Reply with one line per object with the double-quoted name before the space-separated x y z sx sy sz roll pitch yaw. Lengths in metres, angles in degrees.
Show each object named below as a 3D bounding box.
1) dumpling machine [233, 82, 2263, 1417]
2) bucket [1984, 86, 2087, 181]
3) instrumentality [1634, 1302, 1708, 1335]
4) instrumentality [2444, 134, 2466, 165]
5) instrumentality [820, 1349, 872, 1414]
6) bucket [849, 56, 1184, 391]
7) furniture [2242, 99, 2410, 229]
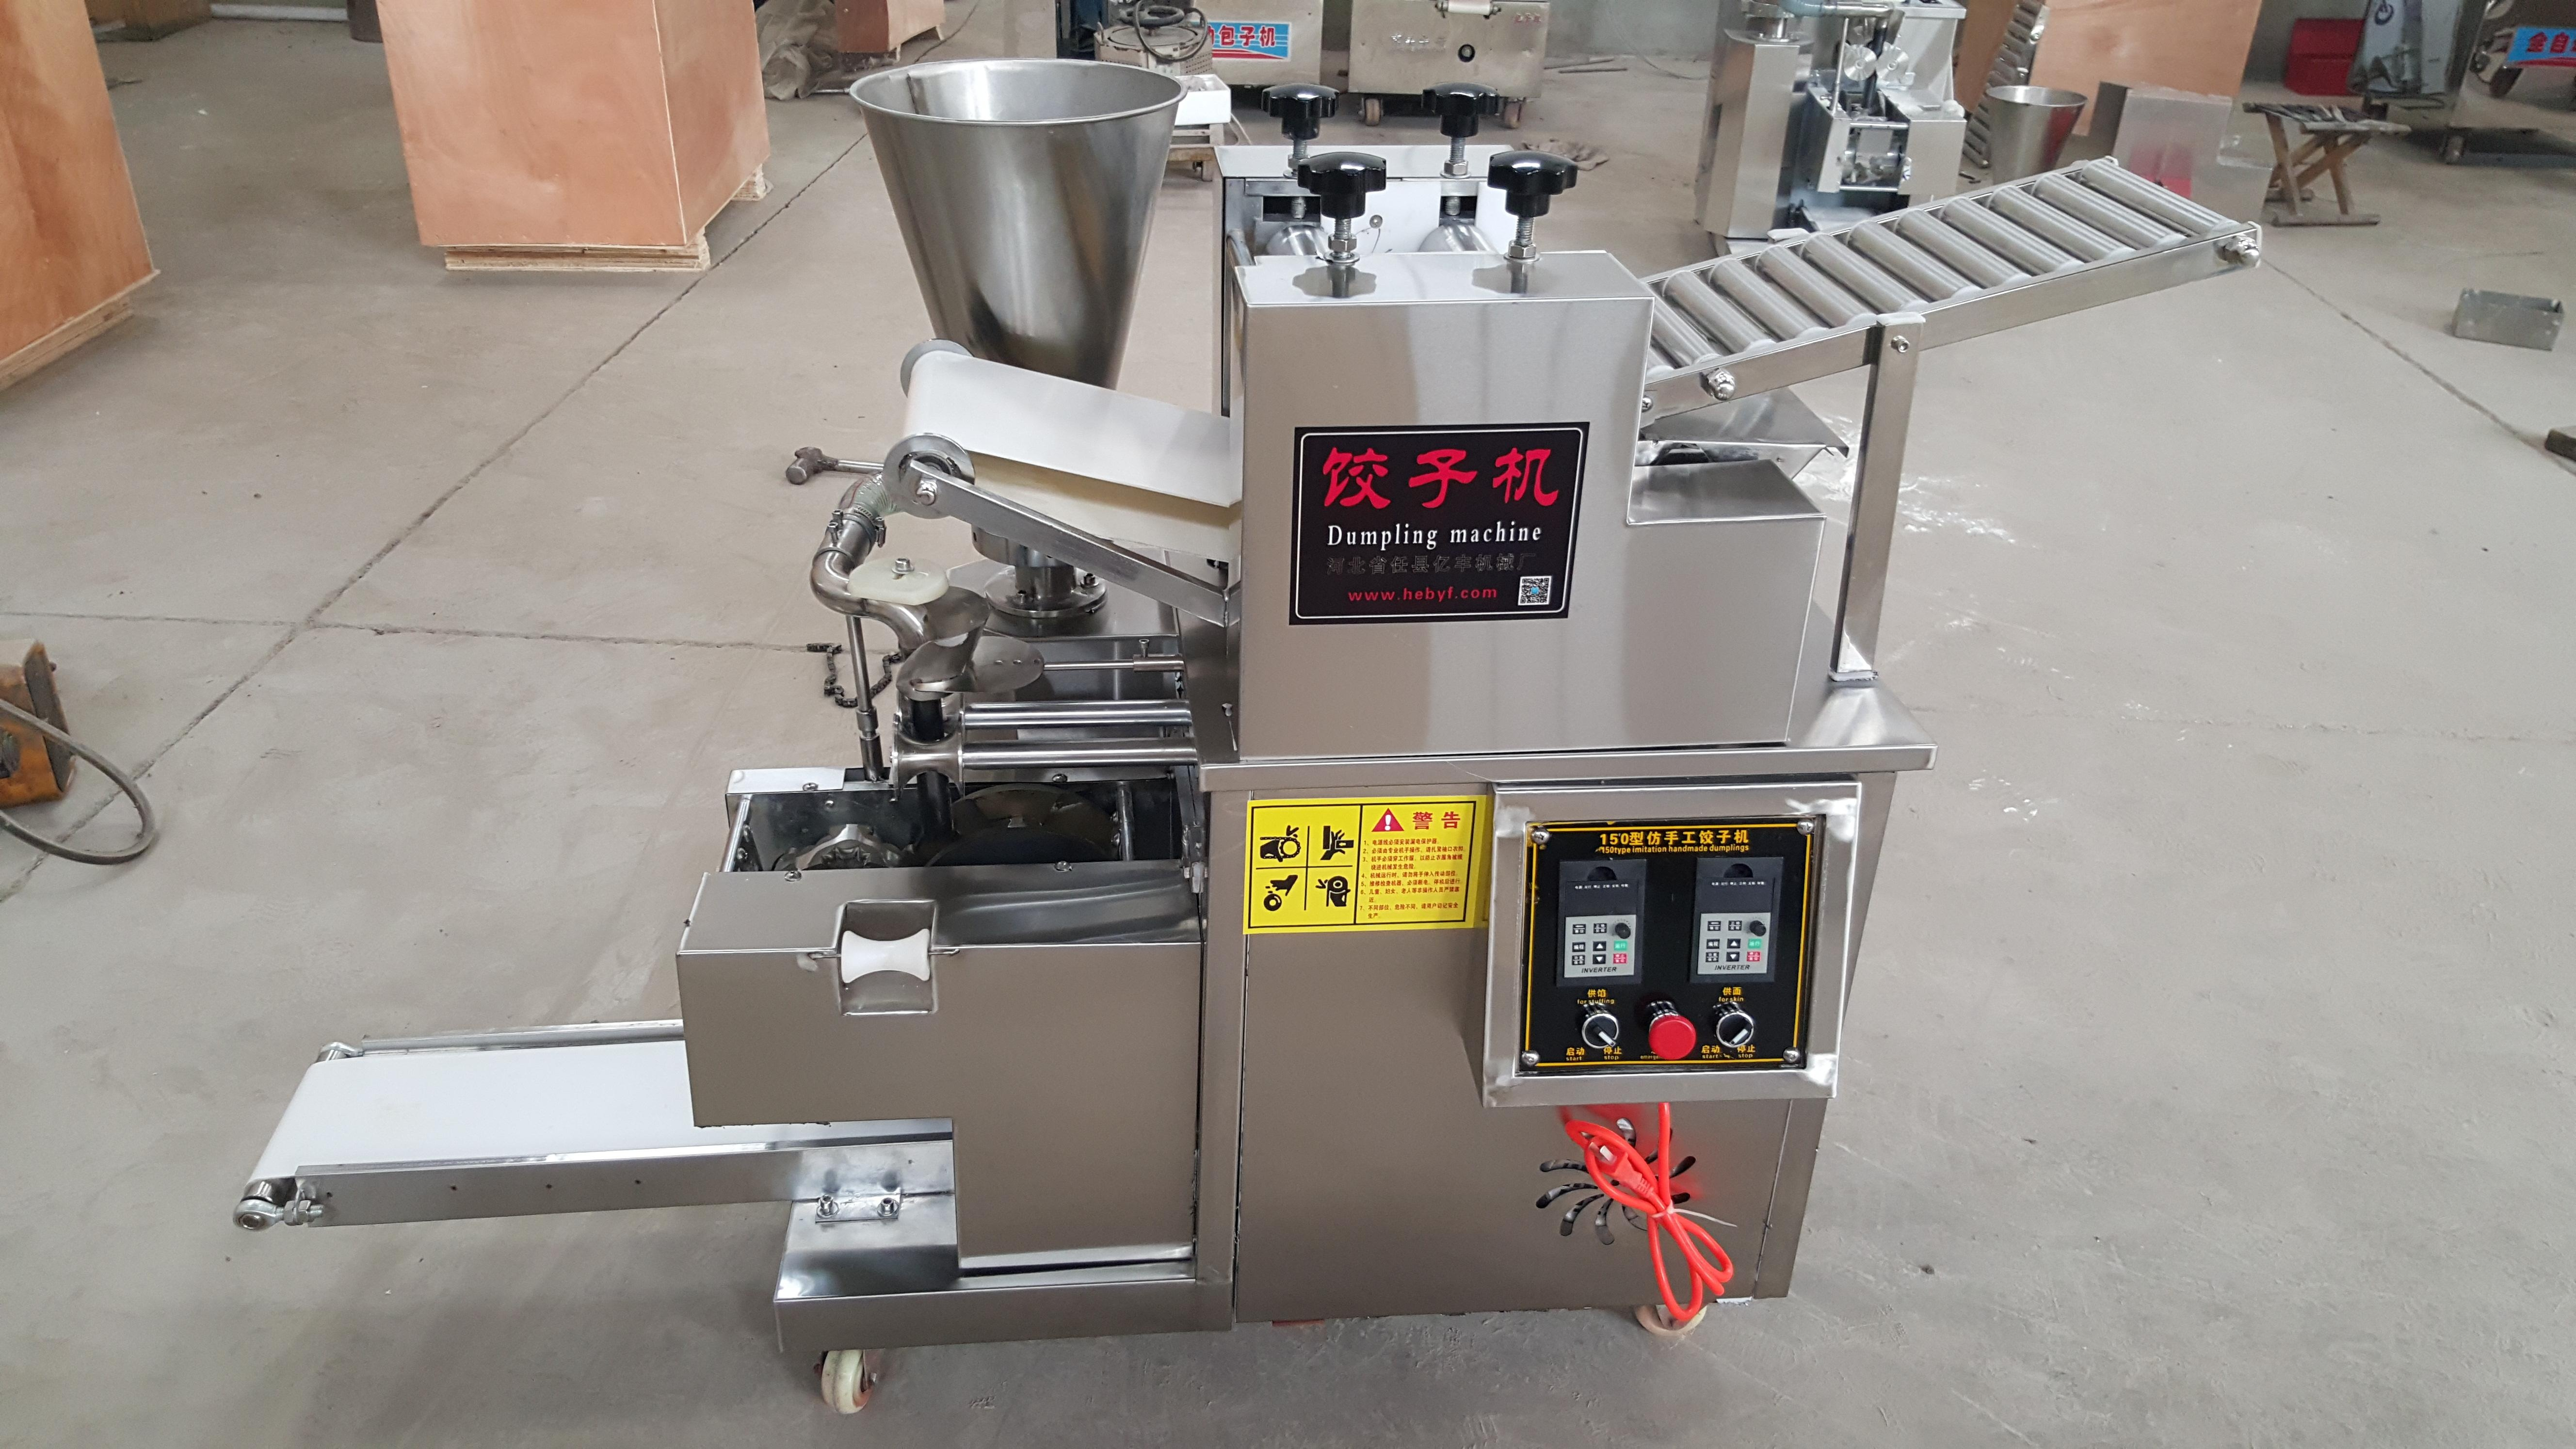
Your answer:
"dumpling machine" 0.339 -0.276 3.382 3.475 2.180 1.603 0 31 -4
"bucket" 2.425 -1.899 5.781 0.293 0.289 0.292 -1 34 1
"instrumentality" 0.597 0.912 2.791 0.089 0.030 0.086 -2 14 13
"instrumentality" 4.255 -2.097 6.467 0.087 0.138 0.049 3 -6 11
"instrumentality" -0.678 1.004 2.730 0.053 0.087 0.064 8 41 1
"bucket" -0.418 -0.762 2.770 0.485 0.483 0.490 1 34 -1
"furniture" 3.411 -1.868 5.971 0.496 0.394 0.522 10 20 3
